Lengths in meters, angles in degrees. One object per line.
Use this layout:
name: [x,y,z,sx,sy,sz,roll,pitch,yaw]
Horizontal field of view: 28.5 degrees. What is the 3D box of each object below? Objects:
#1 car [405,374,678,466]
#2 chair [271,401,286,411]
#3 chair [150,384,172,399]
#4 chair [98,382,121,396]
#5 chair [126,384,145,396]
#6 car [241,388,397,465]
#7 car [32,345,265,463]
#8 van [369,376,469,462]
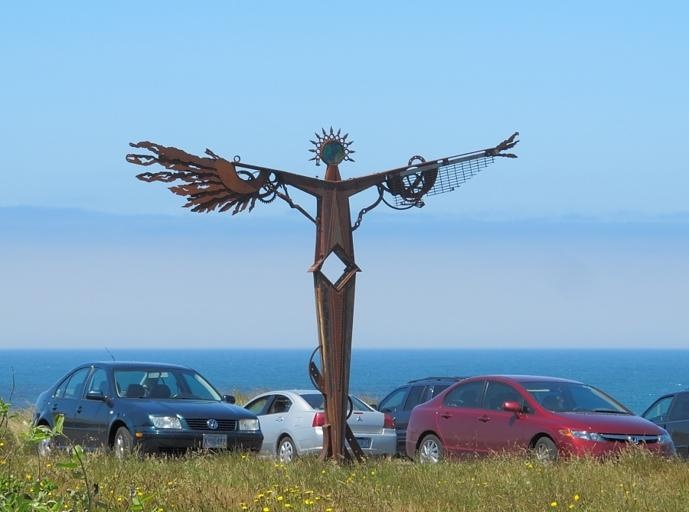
car: [3.439,3.026,24.986,4.784,1.596,1.820,-5,-8,43]
chair: [-1.260,2.956,26.541,0.308,0.180,0.218,0,-24,3]
chair: [-3.437,2.549,25.398,0.387,0.289,0.217,4,-20,-16]
chair: [-4.341,2.495,25.235,0.241,0.132,0.330,9,-7,-34]
chair: [-3.879,2.556,25.194,0.352,0.318,0.185,3,-15,-17]
car: [-0.615,3.229,26.096,1.240,0.898,2.907,2,-3,-31]
car: [-3.742,2.833,25.302,4.141,1.730,2.192,-3,-7,32]
van: [1.276,3.272,29.085,1.112,1.102,2.239,4,-5,-33]
